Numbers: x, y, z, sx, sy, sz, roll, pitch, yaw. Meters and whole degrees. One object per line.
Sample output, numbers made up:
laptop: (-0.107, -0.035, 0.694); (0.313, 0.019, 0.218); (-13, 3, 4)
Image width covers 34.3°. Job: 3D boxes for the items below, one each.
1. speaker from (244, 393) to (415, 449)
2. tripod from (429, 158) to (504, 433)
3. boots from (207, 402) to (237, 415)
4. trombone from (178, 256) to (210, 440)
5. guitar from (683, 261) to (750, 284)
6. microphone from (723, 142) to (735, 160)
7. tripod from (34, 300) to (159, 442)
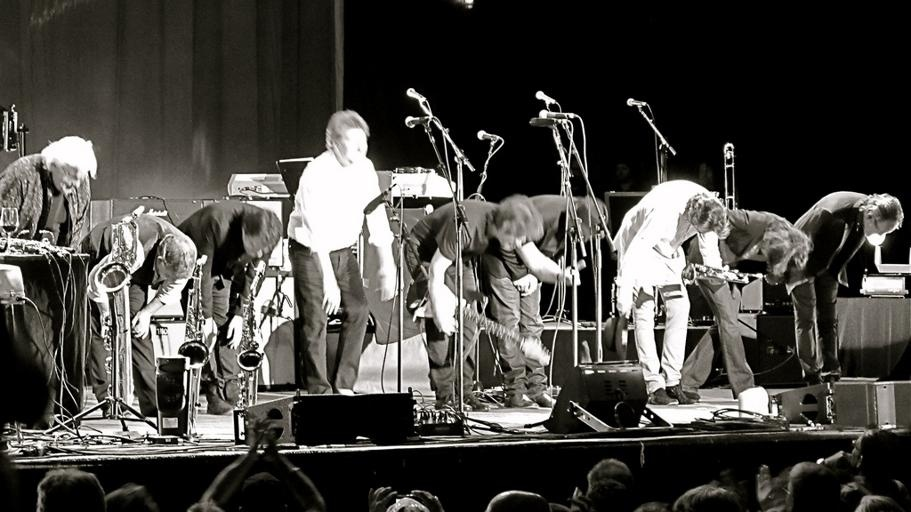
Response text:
speaker: (-1.157, 1.541, 13.939); (1.518, 0.480, 0.147); (-1, -4, -6)
tripod: (0.006, 0.610, 15.560); (0.794, 3.139, 0.517); (1, -7, -9)
boots: (-2.489, 1.614, 15.628); (0.398, 0.129, 0.200); (-2, -1, 0)
trombone: (-2.572, 0.908, 14.588); (0.437, 1.672, 0.295); (5, -1, -39)
guitar: (2.730, 0.180, 15.922); (0.335, 0.121, 0.455); (1, 5, -42)
microphone: (3.354, -1.294, 18.185); (0.223, 0.261, 0.108); (0, 0, 12)
tripod: (-3.553, 1.089, 15.141); (0.925, 1.534, 0.723); (-1, -3, 17)
